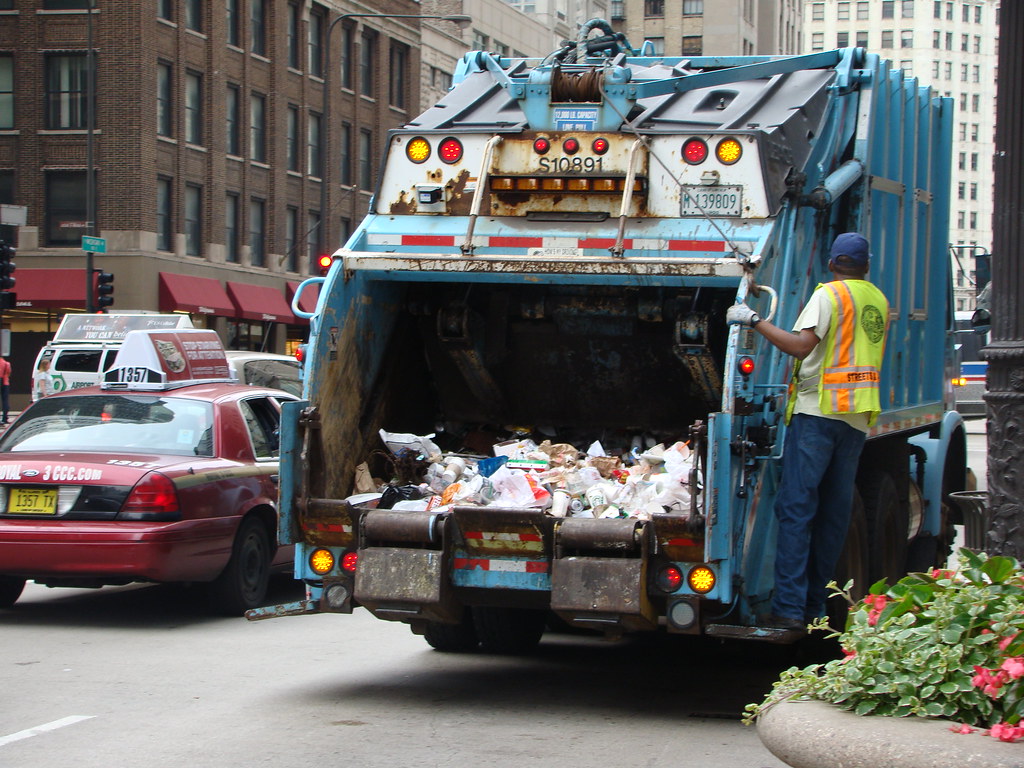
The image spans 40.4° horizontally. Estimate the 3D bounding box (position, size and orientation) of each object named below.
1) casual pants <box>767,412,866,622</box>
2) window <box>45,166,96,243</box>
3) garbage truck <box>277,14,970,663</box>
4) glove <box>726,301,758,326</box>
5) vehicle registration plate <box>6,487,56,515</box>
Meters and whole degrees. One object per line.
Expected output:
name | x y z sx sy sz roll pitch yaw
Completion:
casual pants | 1.681 0.753 7.678 0.340 1.019 0.547 -1 0 32
window | -12.771 -5.047 39.973 1.328 2.251 0.369 -2 0 12
garbage truck | 1.357 -0.614 10.401 3.611 3.429 6.137 5 5 26
glove | 1.188 -0.367 7.232 0.116 0.064 0.148 1 -11 21
vehicle registration plate | -3.407 0.844 9.907 0.376 0.195 0.062 -1 0 18
